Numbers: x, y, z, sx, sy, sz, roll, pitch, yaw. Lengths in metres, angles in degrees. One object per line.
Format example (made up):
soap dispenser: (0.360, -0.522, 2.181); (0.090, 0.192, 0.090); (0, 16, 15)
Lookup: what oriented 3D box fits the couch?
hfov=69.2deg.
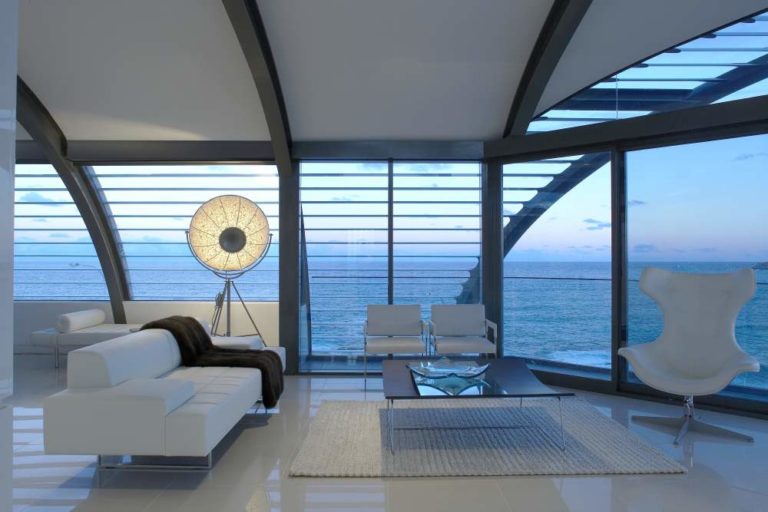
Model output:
couch: (-2.231, 1.386, 5.598); (1.423, 2.388, 0.931); (1, -89, -1)

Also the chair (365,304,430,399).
chair: (0.146, 1.253, 7.632); (0.875, 0.763, 1.036); (0, -87, 2)

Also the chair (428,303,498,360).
chair: (1.053, 1.085, 7.547); (0.917, 0.711, 0.716); (0, -86, -11)

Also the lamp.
lamp: (-2.163, 0.306, 7.978); (1.212, 0.868, 2.230); (-10, -69, -27)

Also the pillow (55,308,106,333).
pillow: (-4.508, 0.955, 8.367); (0.231, 0.741, 0.208); (-24, -93, 16)
